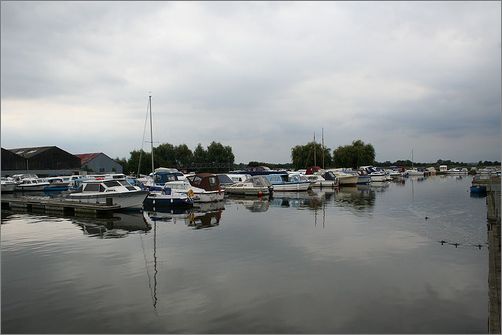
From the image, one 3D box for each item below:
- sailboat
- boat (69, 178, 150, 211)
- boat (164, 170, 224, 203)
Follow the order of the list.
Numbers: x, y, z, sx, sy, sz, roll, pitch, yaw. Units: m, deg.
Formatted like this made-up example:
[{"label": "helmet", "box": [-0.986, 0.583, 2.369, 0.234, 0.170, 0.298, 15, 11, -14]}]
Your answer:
[{"label": "sailboat", "box": [-8.139, -1.483, 36.850, 7.605, 10.002, 2.759, -4, 2, 36]}, {"label": "boat", "box": [-12.306, 2.332, 34.257, 8.435, 2.573, 2.606, 0, -5, 21]}, {"label": "boat", "box": [-5.878, 1.936, 39.579, 6.212, 2.235, 3.950, -1, 2, 31]}]
